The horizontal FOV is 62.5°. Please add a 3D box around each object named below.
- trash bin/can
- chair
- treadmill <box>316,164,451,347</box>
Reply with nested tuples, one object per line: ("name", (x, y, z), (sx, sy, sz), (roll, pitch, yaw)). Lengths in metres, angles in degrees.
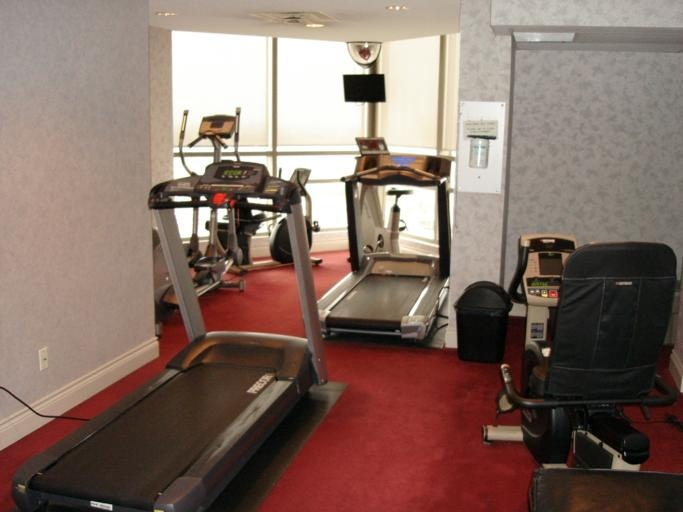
("trash bin/can", (1.191, 0.531, 4.851), (0.667, 0.882, 0.613), (2, 7, 18))
("chair", (1.216, 0.446, 3.071), (0.780, 1.306, 0.766), (2, 14, 0))
("treadmill", (0.497, -0.176, 5.959), (1.315, 1.837, 2.097), (3, 13, 19))
